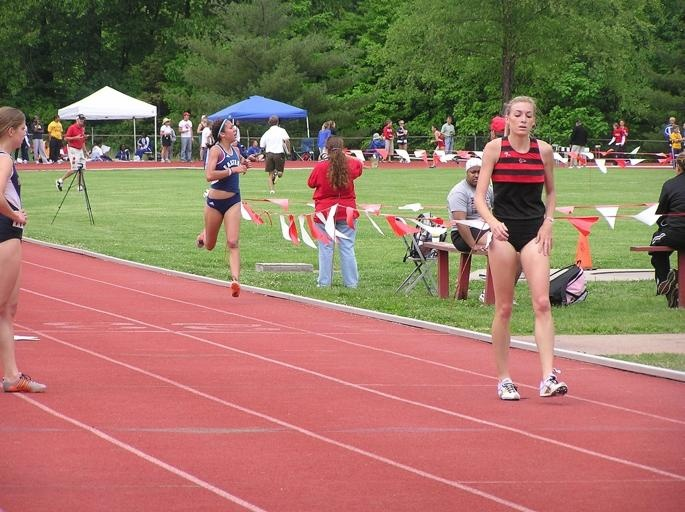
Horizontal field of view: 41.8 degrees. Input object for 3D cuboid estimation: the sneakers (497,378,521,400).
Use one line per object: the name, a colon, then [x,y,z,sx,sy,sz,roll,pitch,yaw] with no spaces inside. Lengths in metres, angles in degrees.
sneakers: [1.349,1.088,7.257,0.103,0.106,0.254,-4,0,-14]

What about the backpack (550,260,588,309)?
backpack: [2.808,0.372,11.441,0.599,0.217,0.567,-31,25,-30]

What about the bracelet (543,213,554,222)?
bracelet: [1.656,-0.305,7.152,0.062,0.038,0.077,12,-12,-39]

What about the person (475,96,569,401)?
person: [1.431,-0.055,7.158,0.747,2.420,0.556,3,8,16]

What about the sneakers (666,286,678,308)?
sneakers: [4.186,0.536,11.273,0.080,0.198,0.192,1,9,23]

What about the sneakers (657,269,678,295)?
sneakers: [4.224,0.373,11.528,0.204,0.438,0.170,3,-25,46]

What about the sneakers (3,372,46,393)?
sneakers: [-2.534,1.017,7.172,0.399,0.154,0.136,0,2,-6]

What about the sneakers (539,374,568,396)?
sneakers: [1.670,1.043,7.106,0.126,0.141,0.305,3,-11,-27]

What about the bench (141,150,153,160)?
bench: [-11.162,-5.731,51.008,0.470,0.406,0.462,2,-4,-42]

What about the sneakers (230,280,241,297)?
sneakers: [-1.340,0.435,11.123,0.098,0.261,0.116,2,37,-1]

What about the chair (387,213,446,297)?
chair: [1.142,0.074,12.769,0.933,0.986,0.882,8,-1,-5]

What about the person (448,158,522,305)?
person: [1.803,-0.373,11.305,0.733,1.637,0.973,-7,8,-22]

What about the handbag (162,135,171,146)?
handbag: [-8.868,-5.786,44.876,0.434,0.537,0.296,3,19,5]

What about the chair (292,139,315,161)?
chair: [-2.213,-6.082,51.341,1.334,1.942,1.623,-1,1,0]

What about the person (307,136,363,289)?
person: [-0.117,-0.622,12.716,0.751,2.123,0.642,1,8,1]

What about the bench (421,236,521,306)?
bench: [1.553,0.224,12.119,0.399,0.735,1.343,-5,3,-10]
